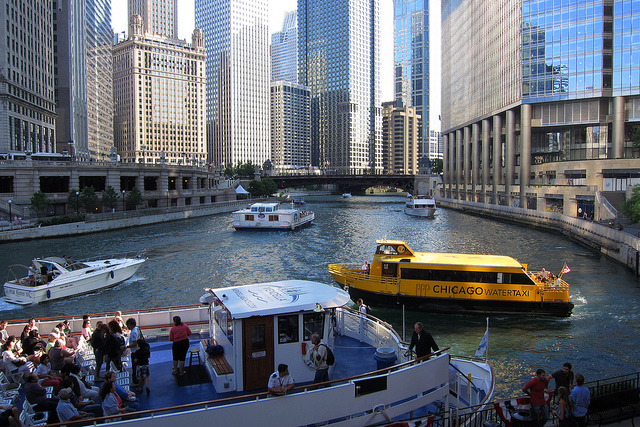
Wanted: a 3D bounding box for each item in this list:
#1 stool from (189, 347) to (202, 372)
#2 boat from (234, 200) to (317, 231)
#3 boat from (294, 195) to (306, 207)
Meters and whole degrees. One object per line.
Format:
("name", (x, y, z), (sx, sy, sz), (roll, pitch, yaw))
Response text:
("stool", (-8.953, 10.516, 43.879), (1.161, 2.132, 1.229), (3, 0, -13))
("boat", (-7.956, 0.345, 110.324), (10.828, 4.836, 14.684), (2, 6, 23))
("boat", (-5.774, -2.931, 168.702), (2.927, 1.864, 4.308), (0, 3, 2))
